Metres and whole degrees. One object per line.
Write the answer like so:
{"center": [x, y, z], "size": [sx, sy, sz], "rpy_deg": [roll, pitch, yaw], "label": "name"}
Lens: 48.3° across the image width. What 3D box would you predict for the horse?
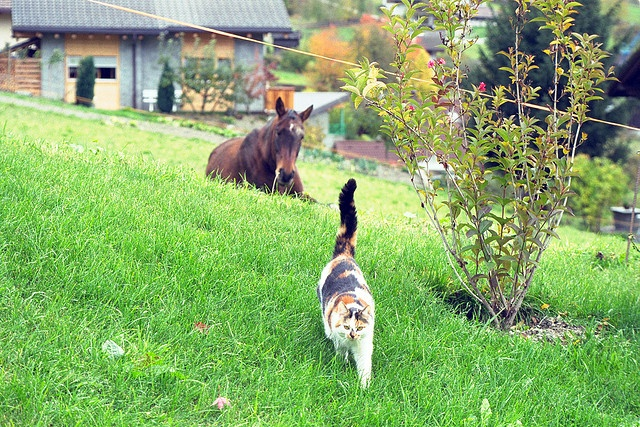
{"center": [-1.431, -0.963, 14.510], "size": [1.153, 2.367, 3.949], "rpy_deg": [2, 2, -32], "label": "horse"}
